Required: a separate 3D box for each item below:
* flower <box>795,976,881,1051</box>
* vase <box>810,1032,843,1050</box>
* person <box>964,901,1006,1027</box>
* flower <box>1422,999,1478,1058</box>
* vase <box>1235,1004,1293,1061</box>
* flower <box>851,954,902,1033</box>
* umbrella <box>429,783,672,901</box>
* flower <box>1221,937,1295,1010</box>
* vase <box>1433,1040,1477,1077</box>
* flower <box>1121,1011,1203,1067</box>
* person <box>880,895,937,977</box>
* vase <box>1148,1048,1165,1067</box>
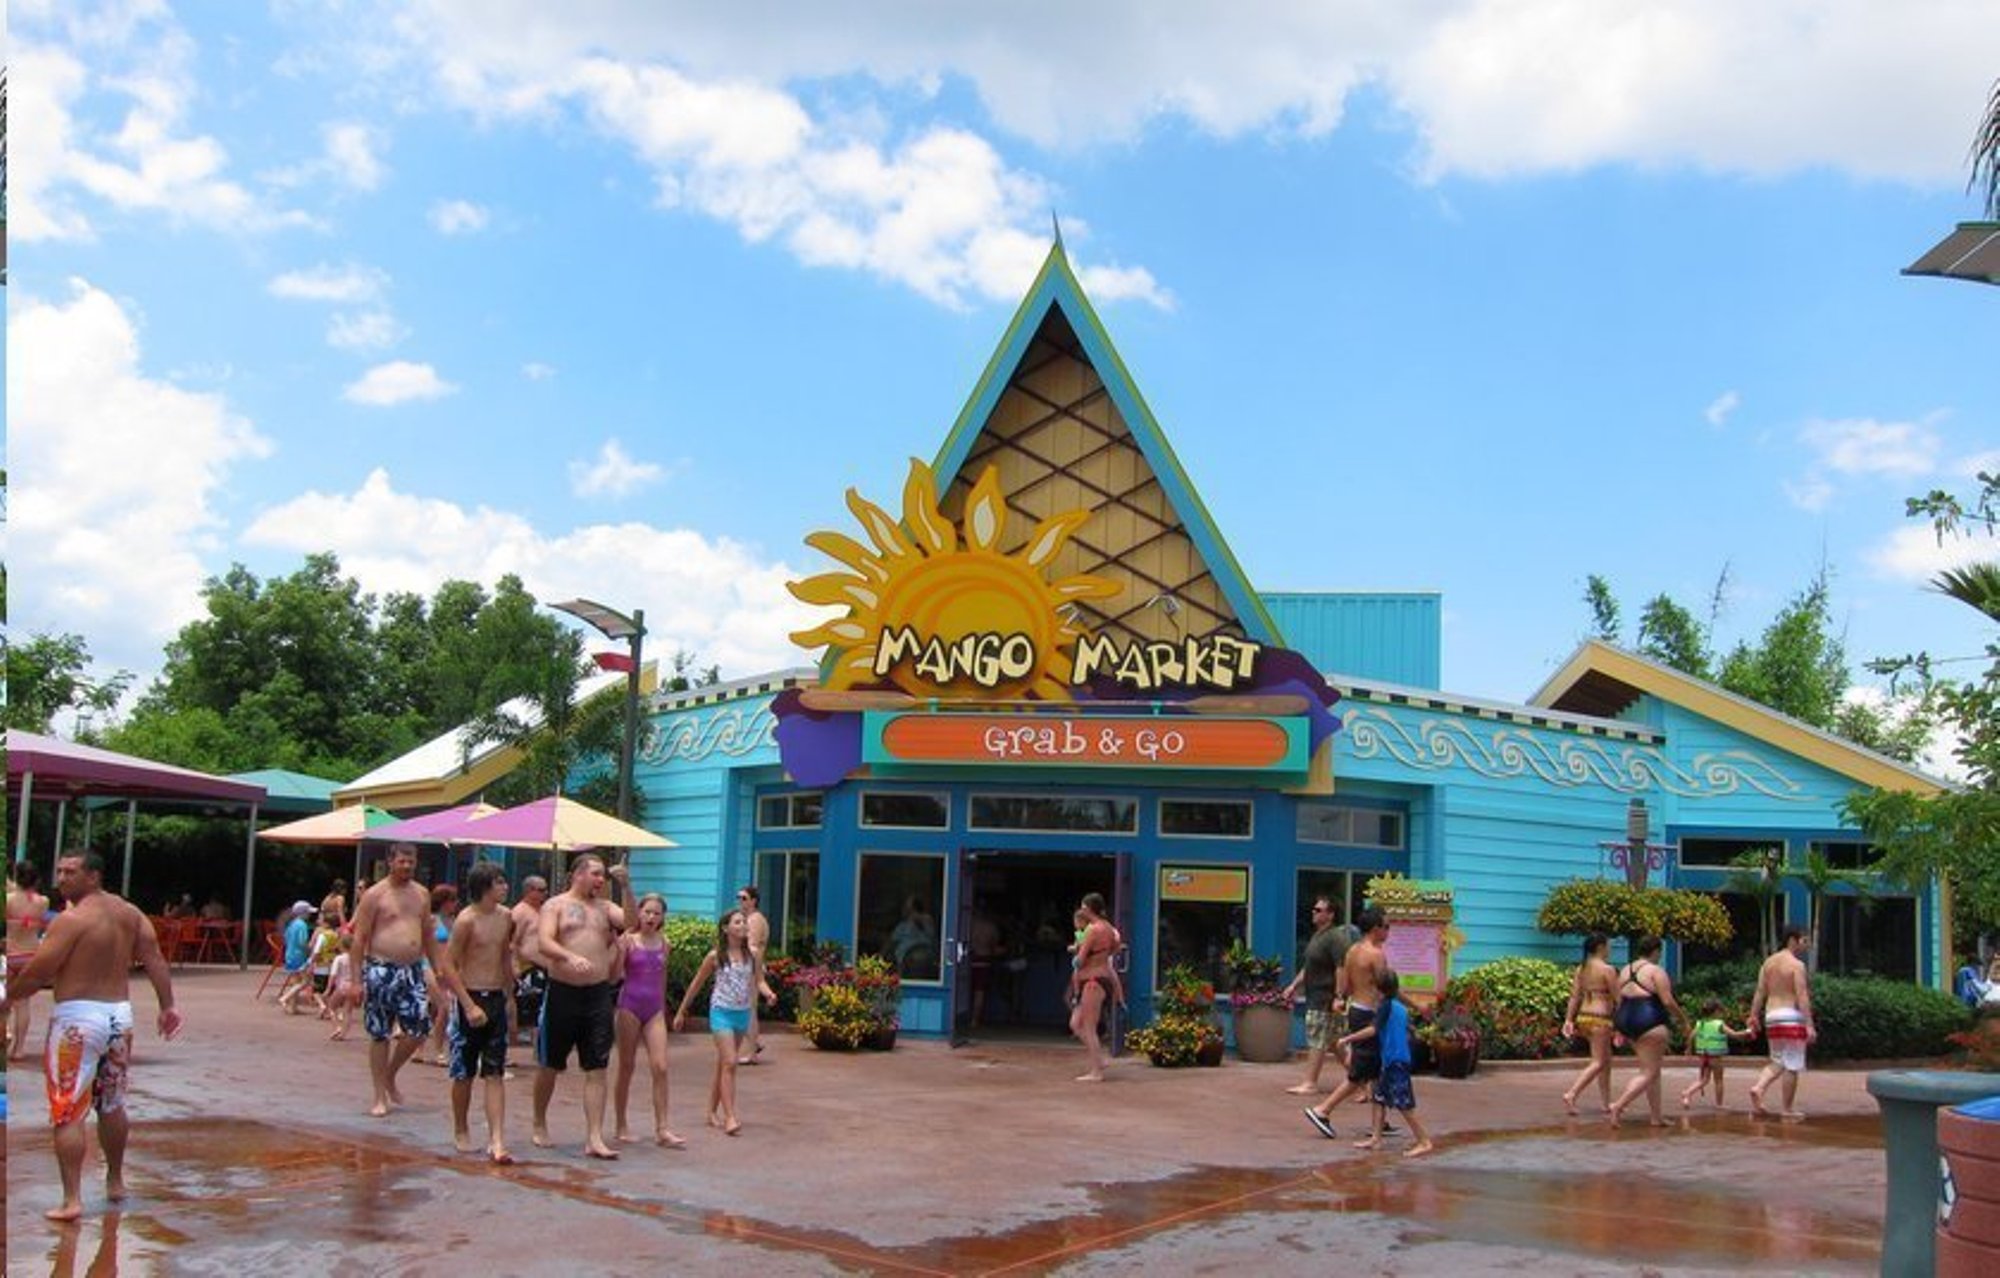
[{"bbox_3d":[-2.205,5.269,22.974,1.095,1.020,0.616,2,-13,1],"label":"flower"},{"bbox_3d":[-2.408,5.597,22.855,0.501,0.242,0.190,-5,-15,27],"label":"vase"},{"bbox_3d":[-0.231,5.256,26.571,0.449,2.038,0.948,0,-13,10],"label":"person"},{"bbox_3d":[6.067,5.326,22.280,0.676,0.652,0.661,5,-18,-15],"label":"flower"},{"bbox_3d":[3.813,5.579,23.348,0.800,0.744,0.800,-1,-4,8],"label":"vase"},{"bbox_3d":[-1.717,5.060,23.529,1.012,1.056,0.881,0,-14,-4],"label":"flower"},{"bbox_3d":[-6.271,2.560,21.967,2.001,0.866,1.852,5,-10,-44],"label":"umbrella"},{"bbox_3d":[3.779,4.795,23.445,0.868,0.699,0.980,5,-8,-10],"label":"flower"},{"bbox_3d":[6.149,5.638,21.953,0.515,0.349,0.502,5,-17,-22],"label":"vase"},{"bbox_3d":[2.396,5.473,22.275,0.725,0.519,0.746,1,2,4],"label":"flower"},{"bbox_3d":[-1.331,4.531,24.847,0.835,1.148,0.207,4,-13,-6],"label":"person"},{"bbox_3d":[2.170,5.700,22.305,0.207,0.195,0.107,-14,-28,11],"label":"vase"}]
